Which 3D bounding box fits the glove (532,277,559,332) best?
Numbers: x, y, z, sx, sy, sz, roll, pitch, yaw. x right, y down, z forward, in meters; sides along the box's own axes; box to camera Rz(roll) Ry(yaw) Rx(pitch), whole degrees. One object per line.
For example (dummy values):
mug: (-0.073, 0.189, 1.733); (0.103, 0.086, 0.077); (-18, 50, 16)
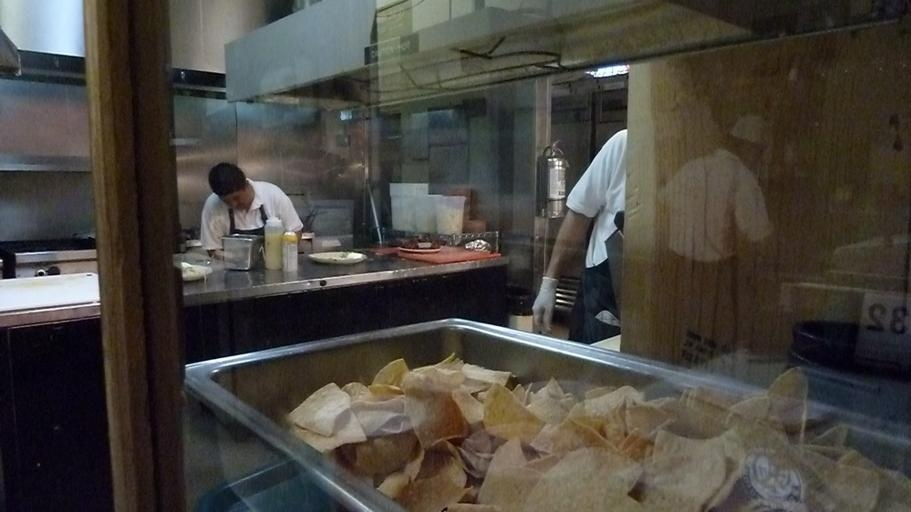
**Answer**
glove: (0.105, 0.059, 0.741); (0.018, 0.056, 0.043); (5, 2, -20)
